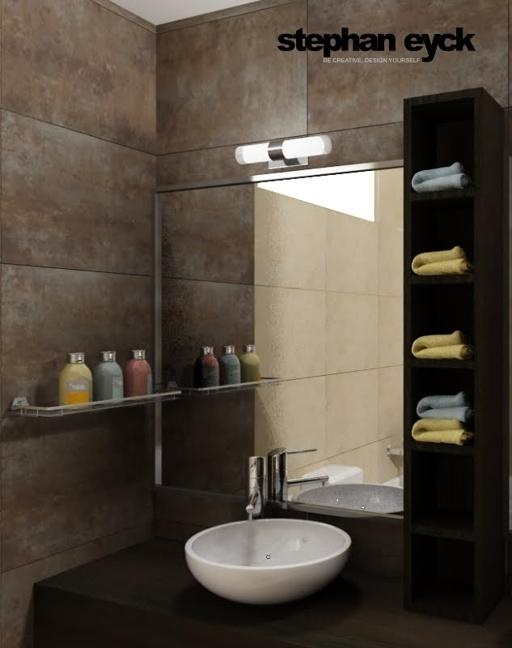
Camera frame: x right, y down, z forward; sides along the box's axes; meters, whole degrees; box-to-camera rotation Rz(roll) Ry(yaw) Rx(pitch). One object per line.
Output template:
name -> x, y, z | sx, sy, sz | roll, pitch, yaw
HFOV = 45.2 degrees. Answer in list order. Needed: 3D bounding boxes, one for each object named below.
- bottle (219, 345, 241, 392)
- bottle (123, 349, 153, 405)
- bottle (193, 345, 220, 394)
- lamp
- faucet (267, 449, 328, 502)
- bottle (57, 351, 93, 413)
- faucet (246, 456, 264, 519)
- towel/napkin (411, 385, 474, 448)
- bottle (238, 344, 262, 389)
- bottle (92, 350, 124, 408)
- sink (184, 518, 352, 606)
bottle -> -0.078, 0.128, 1.921 | 0.064, 0.121, 0.047 | -2, -2, 27
bottle -> -0.341, 0.141, 1.785 | 0.084, 0.132, 0.089 | -2, -1, 0
bottle -> -0.154, 0.134, 1.930 | 0.074, 0.126, 0.072 | -2, -1, 0
lamp -> 0.063, -0.516, 1.836 | 0.330, 0.093, 0.084 | -3, -2, 31
faucet -> 0.117, 0.449, 1.832 | 0.141, 0.160, 0.059 | 6, -10, -25
bottle -> -0.467, 0.141, 1.592 | 0.079, 0.131, 0.075 | -2, -1, 0
faucet -> 0.001, 0.471, 1.747 | 0.035, 0.178, 0.115 | -2, -1, 14
towel/napkin -> 0.422, 0.206, 1.399 | 0.105, 0.080, 0.115 | -2, 1, 22
bottle -> -0.017, 0.121, 1.900 | 0.064, 0.119, 0.026 | -3, -2, 35
bottle -> -0.405, 0.143, 1.699 | 0.083, 0.132, 0.082 | -2, -1, 0
sink -> 0.024, 0.598, 1.547 | 0.402, 0.120, 0.392 | -1, -2, -41
